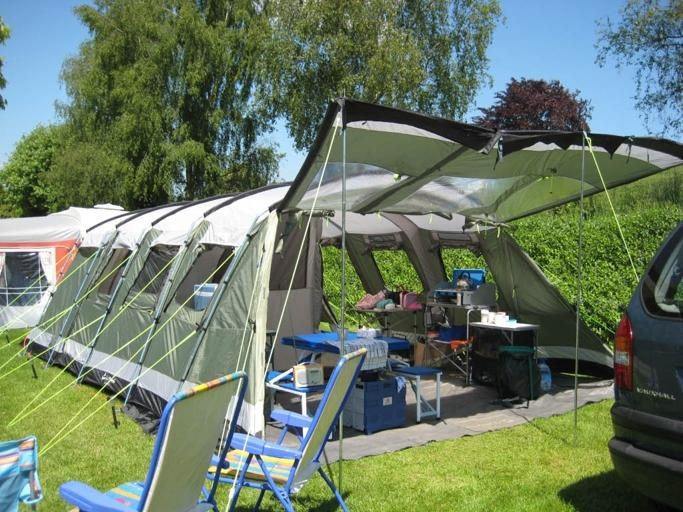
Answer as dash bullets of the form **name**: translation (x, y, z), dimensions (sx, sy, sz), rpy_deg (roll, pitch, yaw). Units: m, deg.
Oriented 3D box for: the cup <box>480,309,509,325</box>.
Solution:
- **cup**: translation (2.420, 0.954, 10.349), dimensions (0.270, 0.129, 0.235), rpy_deg (1, 3, -6)
